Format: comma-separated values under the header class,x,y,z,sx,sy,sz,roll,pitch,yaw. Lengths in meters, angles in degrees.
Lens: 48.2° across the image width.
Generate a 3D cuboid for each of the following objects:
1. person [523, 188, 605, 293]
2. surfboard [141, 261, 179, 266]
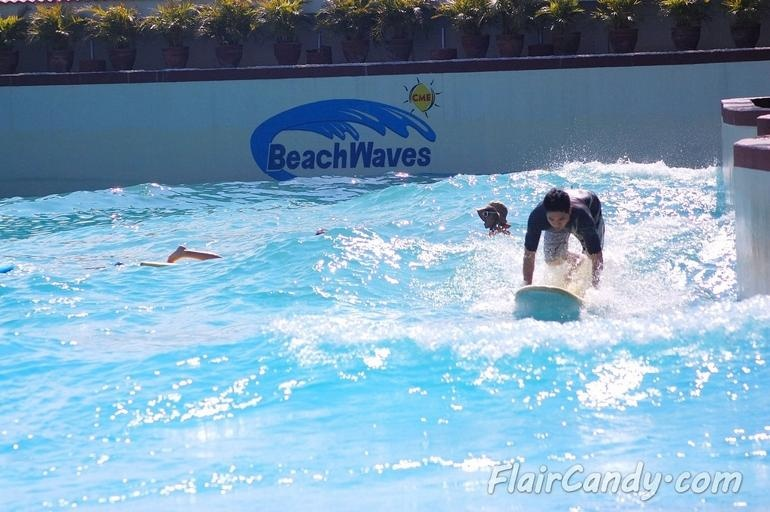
class,x,y,z,sx,sy,sz,roll,pitch,yaw
person,1.865,-0.212,9.075,0.752,1.036,1.095,-2,-5,28
surfboard,-2.819,0.103,10.796,0.443,0.074,0.252,1,-5,-8
